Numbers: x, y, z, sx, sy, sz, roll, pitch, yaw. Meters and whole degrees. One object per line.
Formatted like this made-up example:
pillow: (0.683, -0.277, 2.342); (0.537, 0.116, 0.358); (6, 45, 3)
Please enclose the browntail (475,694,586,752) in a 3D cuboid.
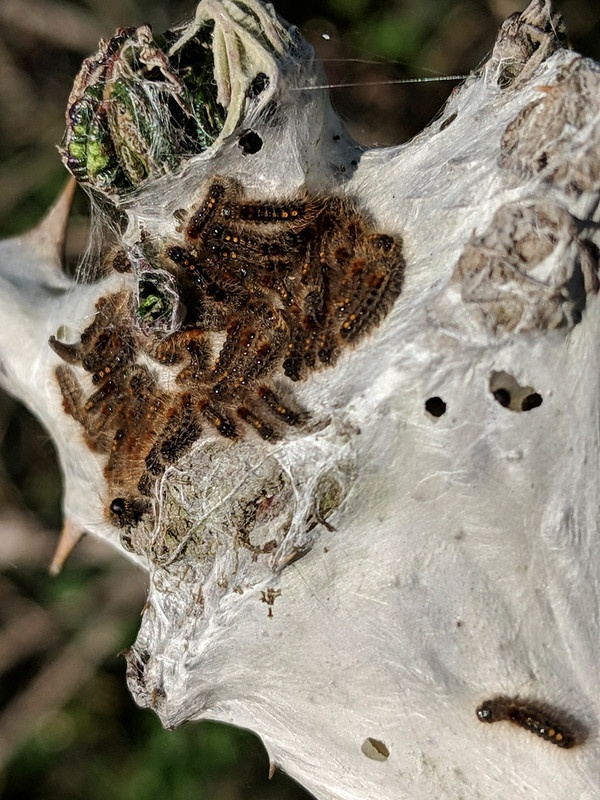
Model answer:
browntail: (0.949, 1.284, 4.320); (0.443, 0.087, 0.146); (15, 75, 12)
